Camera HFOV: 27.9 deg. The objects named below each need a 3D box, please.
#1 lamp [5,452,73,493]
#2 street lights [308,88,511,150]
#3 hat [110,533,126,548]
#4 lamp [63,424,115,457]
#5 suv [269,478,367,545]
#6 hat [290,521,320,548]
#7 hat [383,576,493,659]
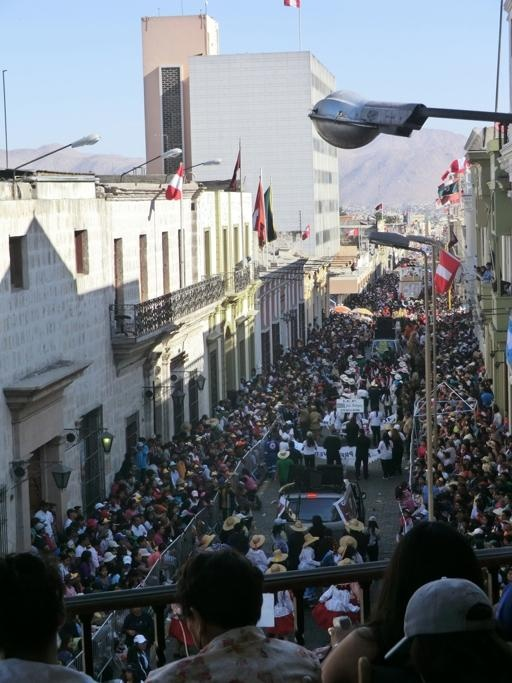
[{"bbox_3d":[-3.662,2.185,17.410,1.046,0.808,0.558,5,-7,-17],"label":"lamp"},{"bbox_3d":[0.762,-1.255,5.731,1.123,0.330,0.331,5,9,44],"label":"street lights"},{"bbox_3d":[-2.241,3.205,16.824,0.133,0.126,0.220,4,-32,-36],"label":"hat"},{"bbox_3d":[-3.447,1.989,21.259,0.838,0.492,0.521,-2,0,-21],"label":"lamp"},{"bbox_3d":[1.435,3.712,21.545,1.831,1.790,3.335,-2,2,9],"label":"suv"},{"bbox_3d":[0.744,3.391,18.486,0.346,0.168,0.419,4,26,6],"label":"hat"},{"bbox_3d":[0.566,0.868,3.371,0.263,0.212,0.396,10,-26,-40],"label":"hat"}]
